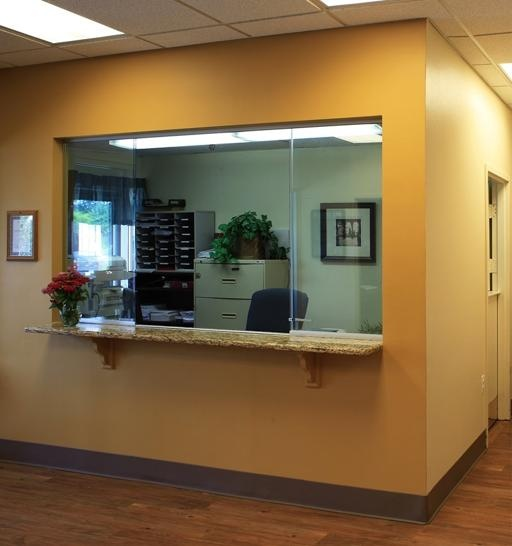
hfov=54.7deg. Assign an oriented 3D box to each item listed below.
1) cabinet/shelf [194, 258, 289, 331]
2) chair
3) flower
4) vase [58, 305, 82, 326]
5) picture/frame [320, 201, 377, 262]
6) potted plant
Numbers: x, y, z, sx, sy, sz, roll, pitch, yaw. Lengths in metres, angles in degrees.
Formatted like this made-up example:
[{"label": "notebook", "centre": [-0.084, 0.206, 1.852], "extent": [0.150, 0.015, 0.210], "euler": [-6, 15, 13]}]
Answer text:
[{"label": "cabinet/shelf", "centre": [-0.122, 0.128, 3.578], "extent": [0.617, 0.581, 0.488], "euler": [-3, -12, 25]}, {"label": "chair", "centre": [0.118, 0.240, 3.088], "extent": [0.281, 0.473, 0.308], "euler": [3, -3, 22]}, {"label": "flower", "centre": [-1.233, 0.151, 3.205], "extent": [0.258, 0.396, 0.245], "euler": [0, -5, -1]}, {"label": "vase", "centre": [-1.223, 0.262, 3.251], "extent": [0.137, 0.168, 0.138], "euler": [-3, 7, -40]}, {"label": "picture/frame", "centre": [0.505, -0.217, 2.723], "extent": [0.338, 0.330, 0.024], "euler": [3, 5, 34]}, {"label": "potted plant", "centre": [-0.088, -0.332, 3.931], "extent": [0.437, 0.271, 0.367], "euler": [8, -8, 33]}]
